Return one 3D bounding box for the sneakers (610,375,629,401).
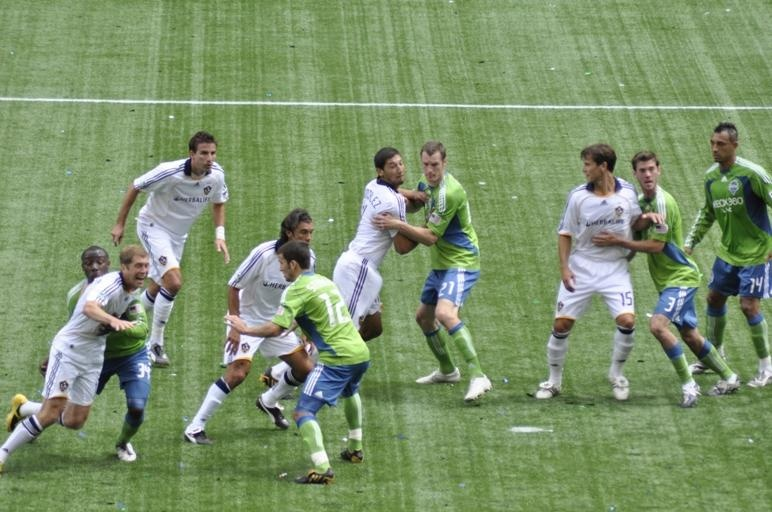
[{"bbox_3d":[2.754,1.558,12.924,0.143,0.143,0.360,-7,38,-1],"label":"sneakers"}]

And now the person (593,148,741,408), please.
[{"bbox_3d":[3.319,0.267,12.752,0.985,2.869,1.168,-23,24,-34],"label":"person"}]

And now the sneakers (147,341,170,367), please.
[{"bbox_3d":[-2.796,1.204,13.440,0.411,0.171,0.149,19,13,23],"label":"sneakers"}]

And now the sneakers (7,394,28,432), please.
[{"bbox_3d":[-3.969,1.723,11.911,0.151,0.384,0.182,27,2,-9],"label":"sneakers"}]

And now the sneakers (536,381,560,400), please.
[{"bbox_3d":[1.915,1.595,13.019,0.327,0.117,0.159,-3,15,-28],"label":"sneakers"}]

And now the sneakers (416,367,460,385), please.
[{"bbox_3d":[0.667,1.483,13.461,0.605,0.197,0.190,2,0,-5],"label":"sneakers"}]

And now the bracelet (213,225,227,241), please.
[{"bbox_3d":[-2.129,-0.284,14.233,0.149,0.215,0.180,19,-33,-40],"label":"bracelet"}]

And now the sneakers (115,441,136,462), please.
[{"bbox_3d":[-2.794,2.121,11.865,0.162,0.167,0.259,5,8,-8],"label":"sneakers"}]
